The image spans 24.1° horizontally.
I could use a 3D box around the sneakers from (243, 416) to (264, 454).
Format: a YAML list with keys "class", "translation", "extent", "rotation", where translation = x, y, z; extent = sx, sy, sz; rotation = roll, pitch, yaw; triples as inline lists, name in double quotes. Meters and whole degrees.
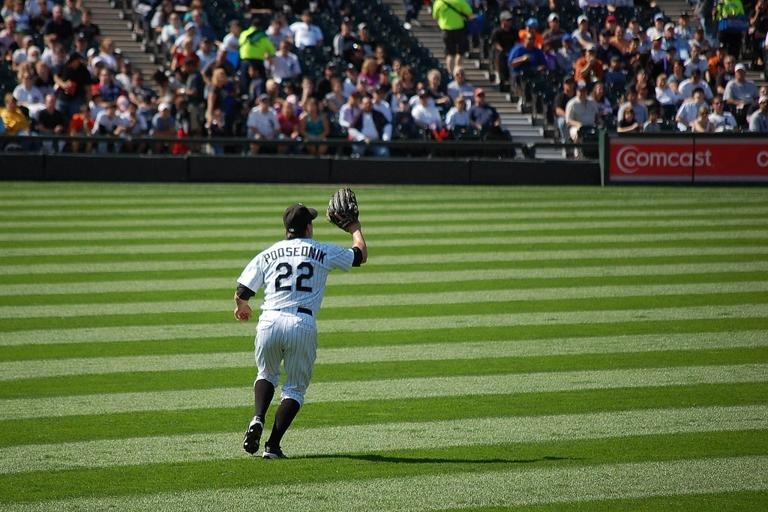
- class: "sneakers"
  translation: [-1.784, 2.481, 24.549]
  extent: [0.240, 0.539, 0.299]
  rotation: [11, 0, -8]

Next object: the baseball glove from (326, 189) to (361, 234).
- class: "baseball glove"
  translation: [-0.561, -0.621, 25.112]
  extent: [0.463, 0.398, 0.568]
  rotation: [-29, -15, -4]

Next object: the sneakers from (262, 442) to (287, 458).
- class: "sneakers"
  translation: [-1.516, 2.736, 24.704]
  extent: [0.356, 0.156, 0.138]
  rotation: [2, 5, -44]

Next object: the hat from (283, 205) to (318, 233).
- class: "hat"
  translation: [-1.144, -0.552, 24.921]
  extent: [0.317, 0.273, 0.464]
  rotation: [8, 36, 25]
